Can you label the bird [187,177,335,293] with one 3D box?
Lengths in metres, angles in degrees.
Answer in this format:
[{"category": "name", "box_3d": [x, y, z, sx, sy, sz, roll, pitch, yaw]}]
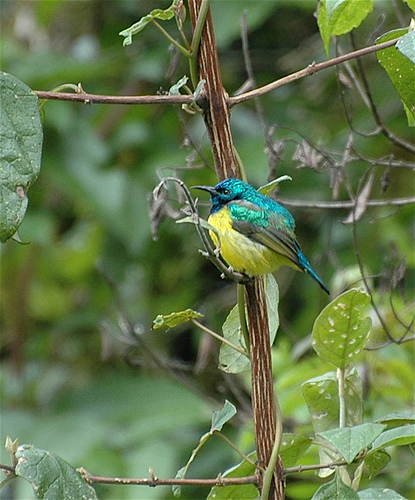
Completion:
[{"category": "bird", "box_3d": [0.201, -0.073, 2.685, 0.750, 0.404, 0.351, 18, -4, 1]}]
